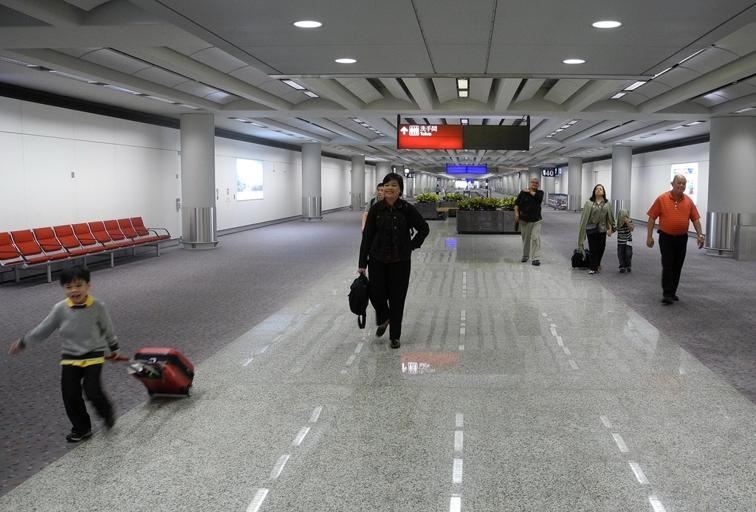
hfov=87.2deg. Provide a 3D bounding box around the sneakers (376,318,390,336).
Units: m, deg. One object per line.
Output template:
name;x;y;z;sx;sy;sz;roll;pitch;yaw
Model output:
sneakers;0.061;1.018;5.629;0.098;0.294;0.113;-3;35;-20

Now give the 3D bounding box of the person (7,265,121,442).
person;-2.476;0.773;3.191;0.614;1.397;0.364;-6;9;-33

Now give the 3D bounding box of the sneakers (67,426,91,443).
sneakers;-2.408;1.439;3.213;0.215;0.073;0.077;7;-5;-29

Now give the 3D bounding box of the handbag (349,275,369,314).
handbag;-0.254;0.507;5.225;0.240;0.562;0.244;0;7;3

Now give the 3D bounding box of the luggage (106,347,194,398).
luggage;-2.343;1.082;3.913;0.896;0.265;0.485;3;-22;23

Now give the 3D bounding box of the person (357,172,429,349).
person;0.192;0.048;5.381;0.905;2.296;0.575;-1;7;-5

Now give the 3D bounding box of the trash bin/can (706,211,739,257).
trash bin/can;11.646;-0.778;13.483;0.801;1.440;0.926;6;10;44

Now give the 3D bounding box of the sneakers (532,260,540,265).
sneakers;4.499;0.180;11.291;0.202;0.176;0.237;2;7;19
